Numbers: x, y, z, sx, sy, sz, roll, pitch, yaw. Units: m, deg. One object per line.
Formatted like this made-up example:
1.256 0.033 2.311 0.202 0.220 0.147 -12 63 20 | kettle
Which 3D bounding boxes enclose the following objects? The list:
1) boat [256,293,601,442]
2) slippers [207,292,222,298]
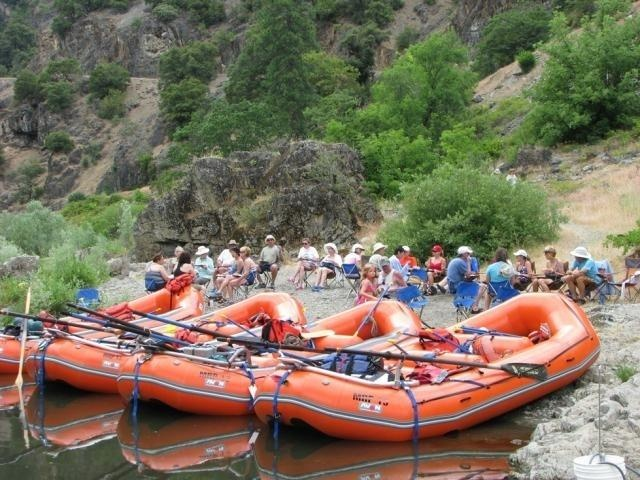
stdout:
5.366 6.559 53.604 17.471 5.081 2.286 -8 3 -5 | boat
-5.746 3.004 58.738 0.812 0.368 0.308 1 -1 0 | slippers
